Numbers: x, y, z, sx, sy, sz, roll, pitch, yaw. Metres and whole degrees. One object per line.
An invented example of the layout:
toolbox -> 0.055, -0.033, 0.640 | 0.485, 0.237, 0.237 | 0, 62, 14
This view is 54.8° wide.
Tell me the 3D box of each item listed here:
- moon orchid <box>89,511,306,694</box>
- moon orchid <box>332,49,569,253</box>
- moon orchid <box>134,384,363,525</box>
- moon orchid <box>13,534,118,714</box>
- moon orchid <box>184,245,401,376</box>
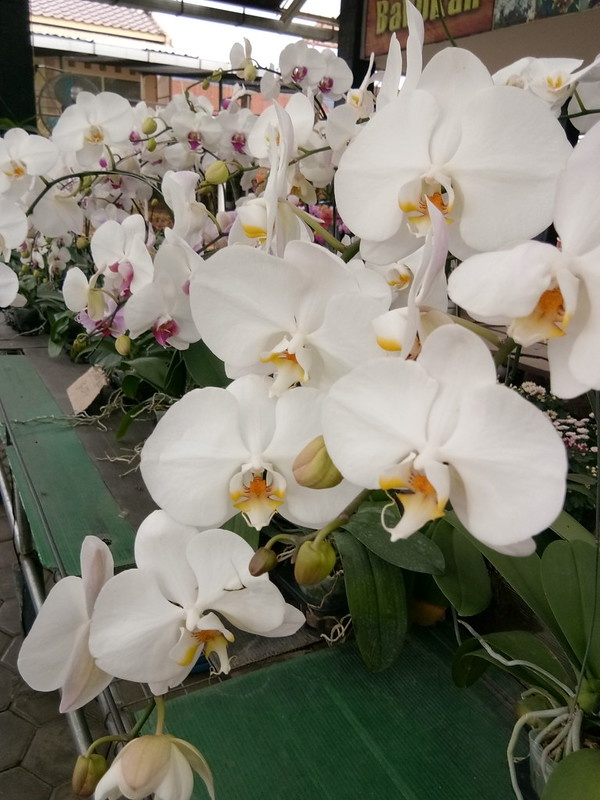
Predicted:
moon orchid -> -0.071, 0.123, 0.375 | 0.116, 0.127, 0.067 | -10, 28, -9
moon orchid -> 0.054, -0.077, 0.239 | 0.089, 0.100, 0.024 | 5, 19, 38
moon orchid -> -0.028, 0.028, 0.357 | 0.146, 0.033, 0.098 | 5, 56, -8
moon orchid -> -0.150, 0.143, 0.400 | 0.077, 0.119, 0.032 | 21, 23, 21
moon orchid -> -0.001, -0.037, 0.302 | 0.087, 0.092, 0.039 | 22, 76, 36
